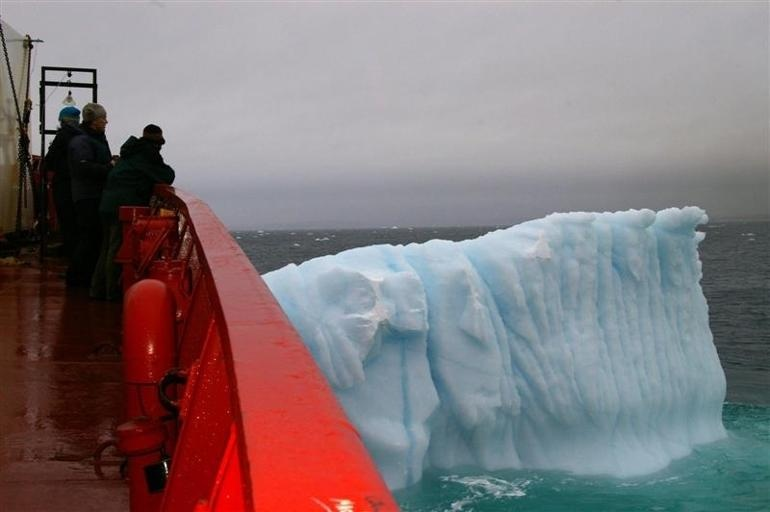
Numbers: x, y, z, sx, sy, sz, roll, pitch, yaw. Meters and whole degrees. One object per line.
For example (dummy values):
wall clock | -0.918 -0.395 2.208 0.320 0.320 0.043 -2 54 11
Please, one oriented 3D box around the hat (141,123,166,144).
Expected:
hat | -3.526 -1.828 14.035 0.307 0.323 1.059 -3 5 -15
